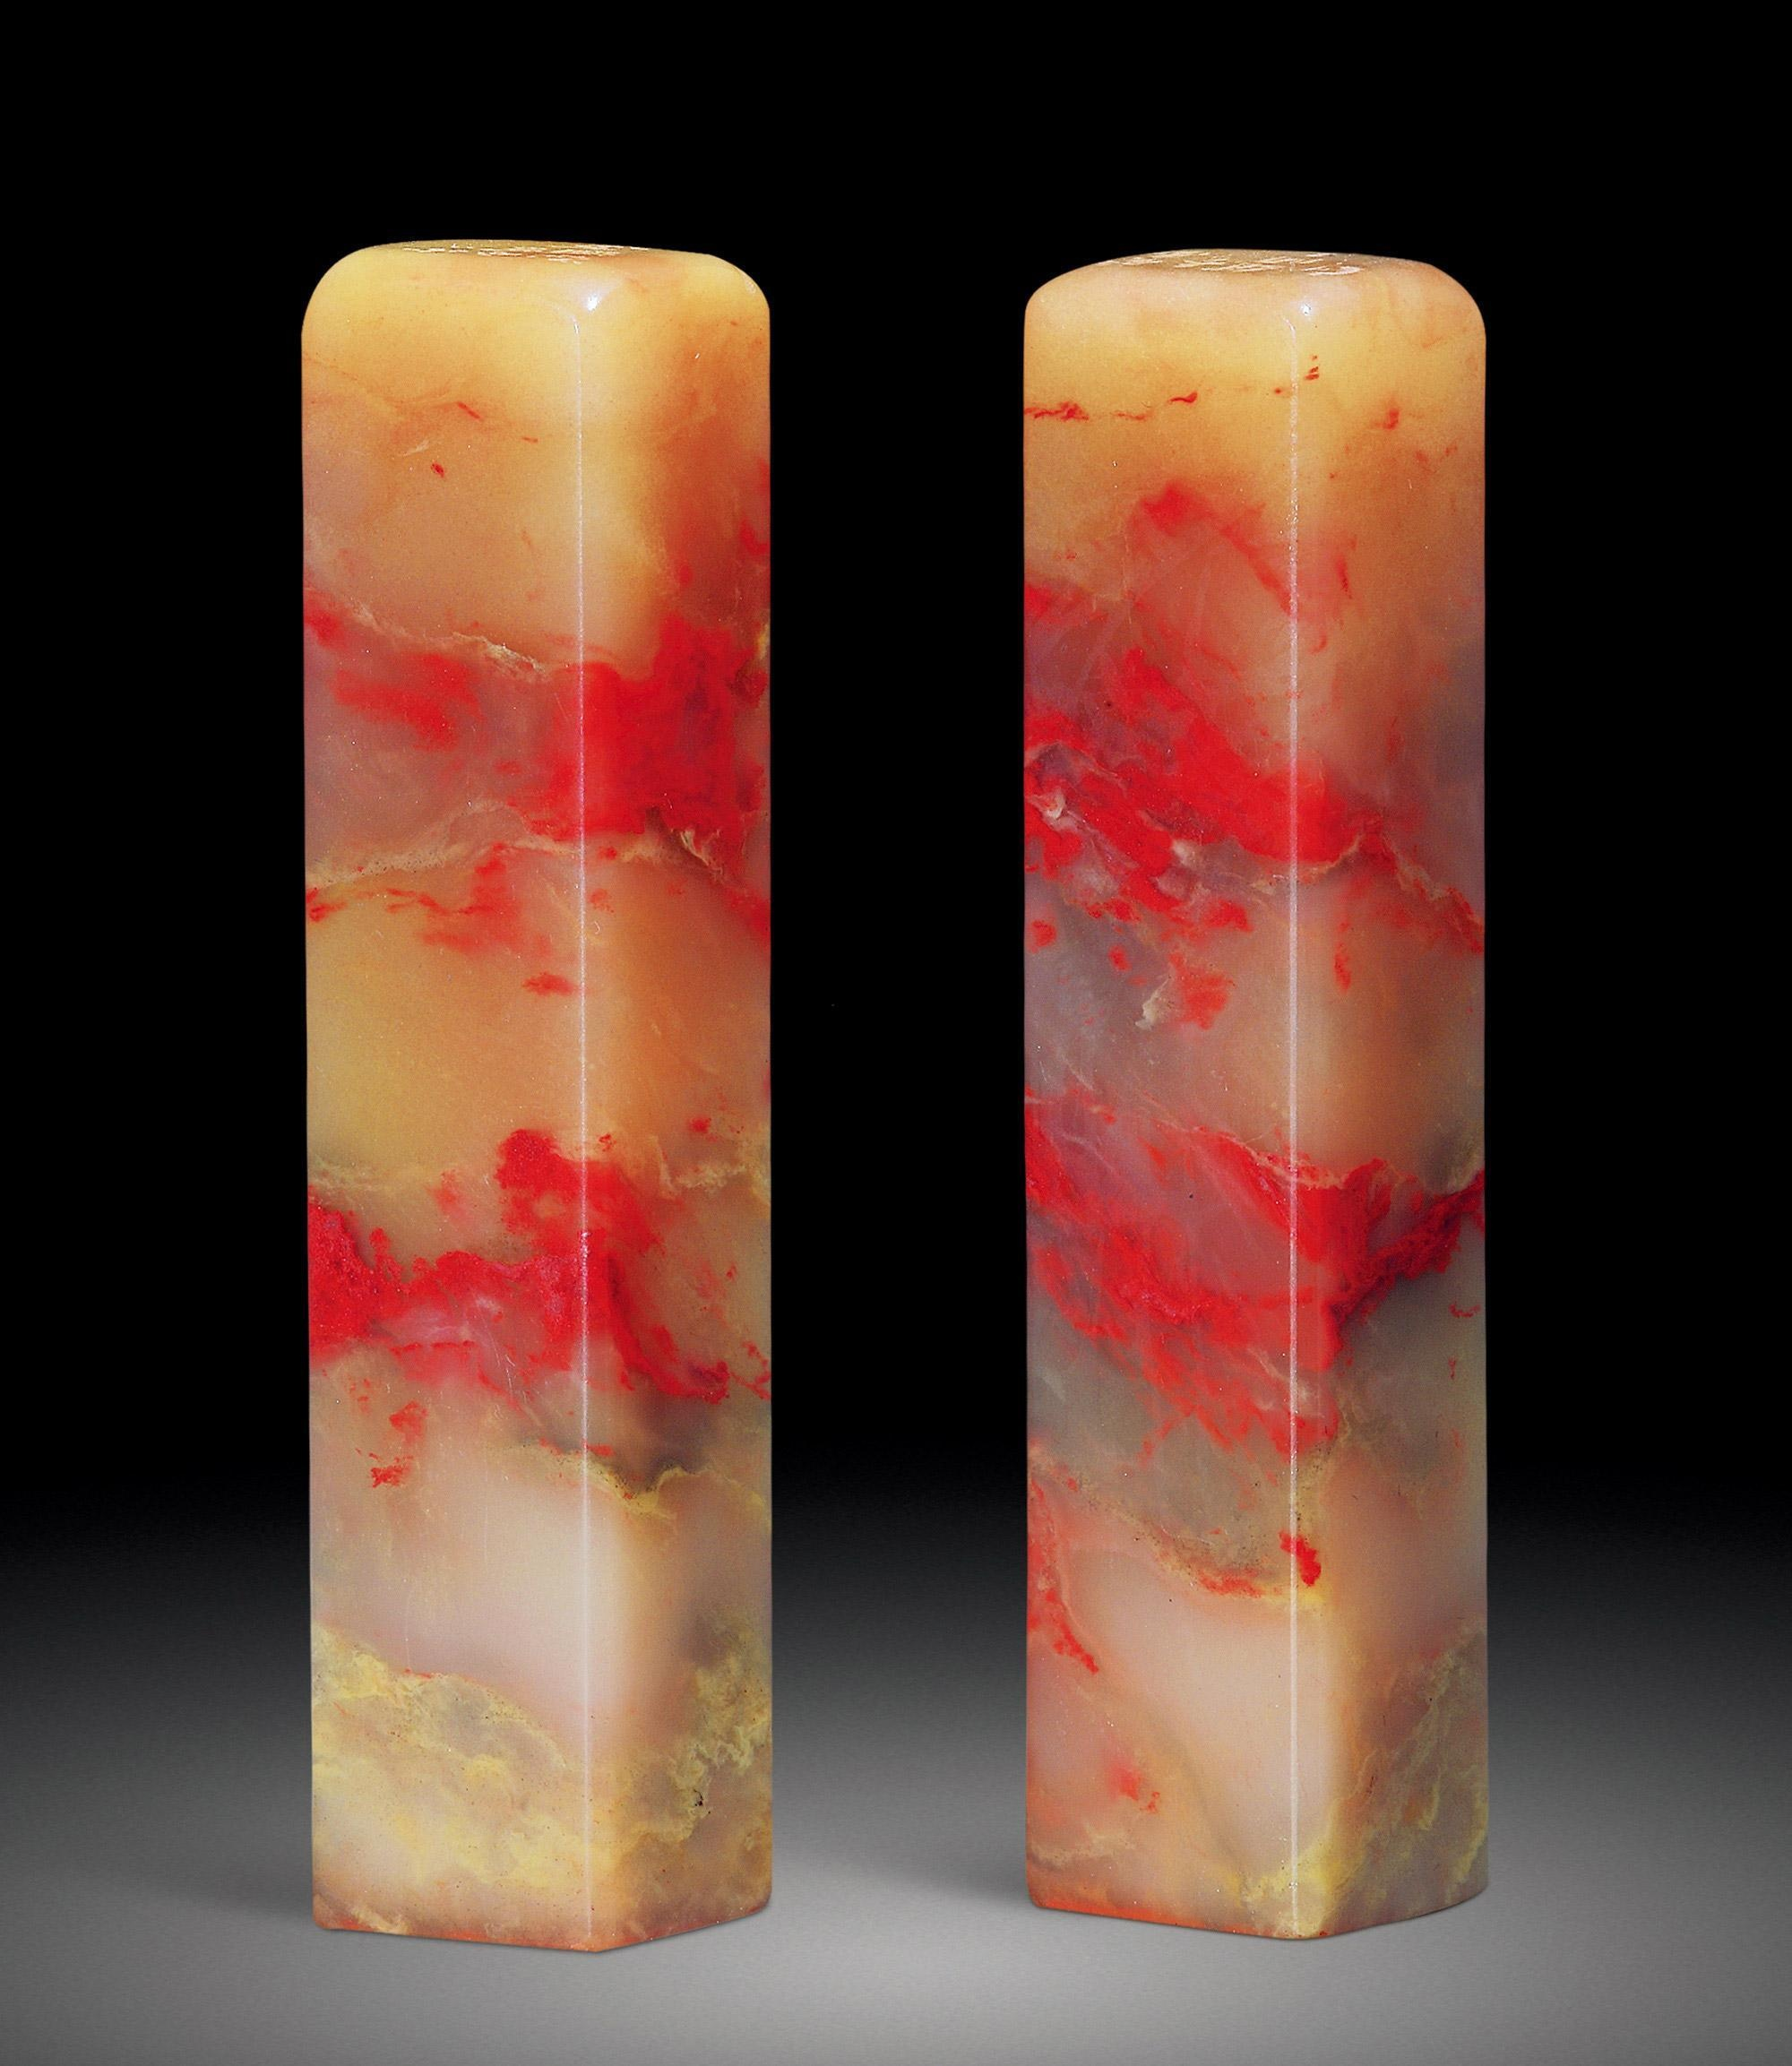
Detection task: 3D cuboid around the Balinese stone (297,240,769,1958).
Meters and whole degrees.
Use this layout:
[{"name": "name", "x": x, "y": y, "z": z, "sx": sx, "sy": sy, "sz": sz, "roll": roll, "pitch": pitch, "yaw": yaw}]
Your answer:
[{"name": "Balinese stone", "x": -0.302, "y": 0.069, "z": 2.458, "sx": 0.430, "sy": 1.482, "sz": 0.273, "roll": 1, "pitch": 8, "yaw": -11}]

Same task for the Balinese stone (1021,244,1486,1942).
[{"name": "Balinese stone", "x": 0.316, "y": 0.065, "z": 2.547, "sx": 0.392, "sy": 1.473, "sz": 0.289, "roll": 10, "pitch": 11, "yaw": 42}]
